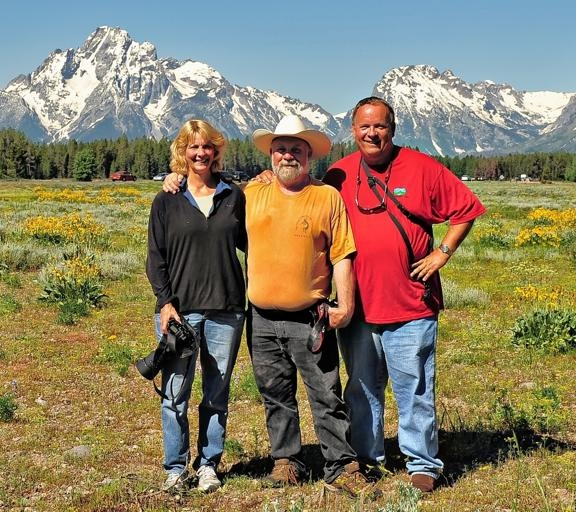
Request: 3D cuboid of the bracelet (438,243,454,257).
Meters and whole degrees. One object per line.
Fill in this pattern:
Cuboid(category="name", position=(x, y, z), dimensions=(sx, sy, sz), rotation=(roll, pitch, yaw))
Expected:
Cuboid(category="bracelet", position=(1.388, -0.048, 5.831), dimensions=(0.098, 0.070, 0.115), rotation=(42, -14, 5))

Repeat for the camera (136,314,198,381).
Cuboid(category="camera", position=(-1.118, 0.830, 5.945), dimensions=(0.431, 0.606, 0.259), rotation=(51, 2, 34))

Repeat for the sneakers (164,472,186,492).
Cuboid(category="sneakers", position=(-0.998, 1.987, 5.867), dimensions=(0.202, 0.116, 0.147), rotation=(0, 9, -9))

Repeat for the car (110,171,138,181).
Cuboid(category="car", position=(-22.862, -10.917, 91.903), dimensions=(2.605, 1.060, 6.135), rotation=(0, 10, -9))

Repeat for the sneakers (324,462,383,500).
Cuboid(category="sneakers", position=(0.573, 1.961, 5.772), dimensions=(0.539, 0.315, 0.231), rotation=(0, -2, 34))
